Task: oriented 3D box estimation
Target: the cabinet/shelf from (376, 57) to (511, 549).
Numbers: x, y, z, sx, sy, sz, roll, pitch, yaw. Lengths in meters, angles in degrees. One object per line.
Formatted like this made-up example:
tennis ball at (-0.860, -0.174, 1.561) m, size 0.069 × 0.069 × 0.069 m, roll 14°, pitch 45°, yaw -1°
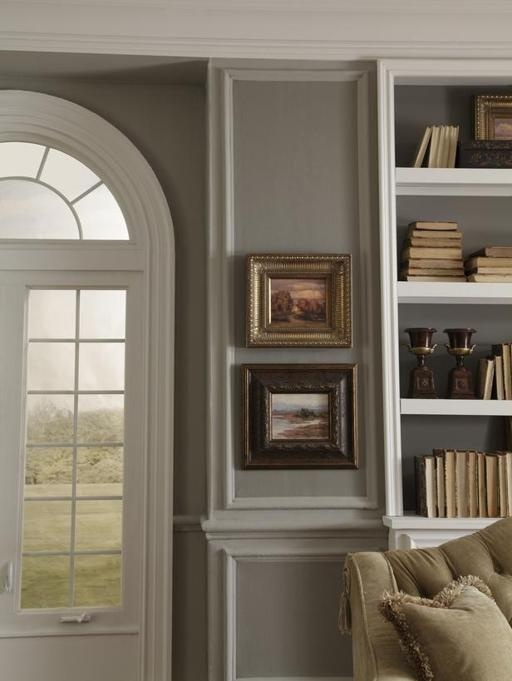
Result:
cabinet/shelf at (0.734, -0.189, 2.878) m, size 0.504 × 1.993 × 0.266 m, roll -2°, pitch -5°, yaw 8°
